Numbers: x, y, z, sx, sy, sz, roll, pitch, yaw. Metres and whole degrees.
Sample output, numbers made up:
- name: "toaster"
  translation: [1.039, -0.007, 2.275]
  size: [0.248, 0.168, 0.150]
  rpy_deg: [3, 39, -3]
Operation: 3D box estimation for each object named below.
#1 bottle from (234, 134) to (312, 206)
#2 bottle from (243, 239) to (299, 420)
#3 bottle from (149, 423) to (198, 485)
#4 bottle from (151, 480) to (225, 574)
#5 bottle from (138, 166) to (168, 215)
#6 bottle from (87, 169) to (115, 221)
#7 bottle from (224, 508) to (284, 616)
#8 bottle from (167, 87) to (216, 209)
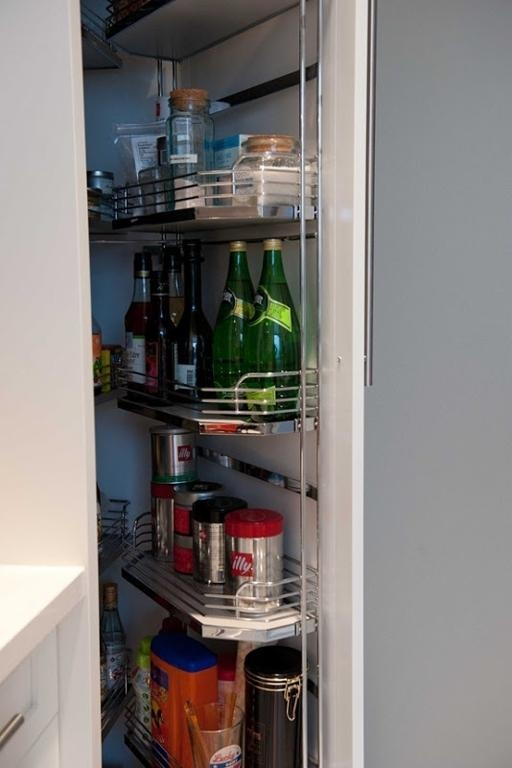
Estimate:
- name: "bottle"
  translation: [0.017, -0.269, 1.045]
  size: [0.096, 0.095, 0.098]
  rpy_deg: [-1, 3, -34]
- name: "bottle"
  translation: [0.019, -0.078, 1.046]
  size: [0.084, 0.241, 0.170]
  rpy_deg: [-2, 4, 1]
- name: "bottle"
  translation: [-0.143, 0.120, 1.357]
  size: [0.082, 0.095, 0.084]
  rpy_deg: [-5, 5, -39]
- name: "bottle"
  translation: [-0.131, 0.220, 1.295]
  size: [0.128, 0.133, 0.124]
  rpy_deg: [7, 12, 25]
- name: "bottle"
  translation: [-0.177, -0.321, 1.271]
  size: [0.048, 0.071, 0.048]
  rpy_deg: [-2, 6, 0]
- name: "bottle"
  translation: [-0.292, -0.344, 1.392]
  size: [0.058, 0.068, 0.060]
  rpy_deg: [12, 14, 25]
- name: "bottle"
  translation: [0.002, 0.254, 1.120]
  size: [0.081, 0.136, 0.081]
  rpy_deg: [-3, 4, 0]
- name: "bottle"
  translation: [-0.092, -0.332, 1.074]
  size: [0.067, 0.188, 0.154]
  rpy_deg: [-3, 4, -4]
